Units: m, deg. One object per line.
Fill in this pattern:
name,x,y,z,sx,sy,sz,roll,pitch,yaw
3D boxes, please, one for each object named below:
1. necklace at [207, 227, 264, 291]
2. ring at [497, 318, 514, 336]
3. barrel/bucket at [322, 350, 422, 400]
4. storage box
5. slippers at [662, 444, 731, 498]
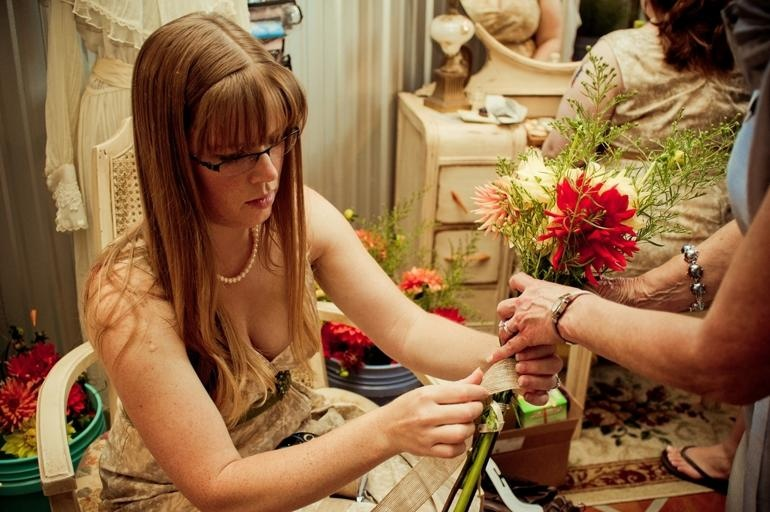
necklace,-0.369,0.014,1.427,0.086,0.154,0.026,7,-9,31
ring,0.287,0.172,1.359,0.014,0.035,0.029,9,17,20
barrel/bucket,-0.044,0.480,2.199,0.224,0.153,0.227,-4,13,1
storage box,0.542,0.731,2.238,0.384,0.294,0.333,-4,20,-10
slippers,1.239,0.870,2.259,0.243,0.060,0.098,19,63,34
